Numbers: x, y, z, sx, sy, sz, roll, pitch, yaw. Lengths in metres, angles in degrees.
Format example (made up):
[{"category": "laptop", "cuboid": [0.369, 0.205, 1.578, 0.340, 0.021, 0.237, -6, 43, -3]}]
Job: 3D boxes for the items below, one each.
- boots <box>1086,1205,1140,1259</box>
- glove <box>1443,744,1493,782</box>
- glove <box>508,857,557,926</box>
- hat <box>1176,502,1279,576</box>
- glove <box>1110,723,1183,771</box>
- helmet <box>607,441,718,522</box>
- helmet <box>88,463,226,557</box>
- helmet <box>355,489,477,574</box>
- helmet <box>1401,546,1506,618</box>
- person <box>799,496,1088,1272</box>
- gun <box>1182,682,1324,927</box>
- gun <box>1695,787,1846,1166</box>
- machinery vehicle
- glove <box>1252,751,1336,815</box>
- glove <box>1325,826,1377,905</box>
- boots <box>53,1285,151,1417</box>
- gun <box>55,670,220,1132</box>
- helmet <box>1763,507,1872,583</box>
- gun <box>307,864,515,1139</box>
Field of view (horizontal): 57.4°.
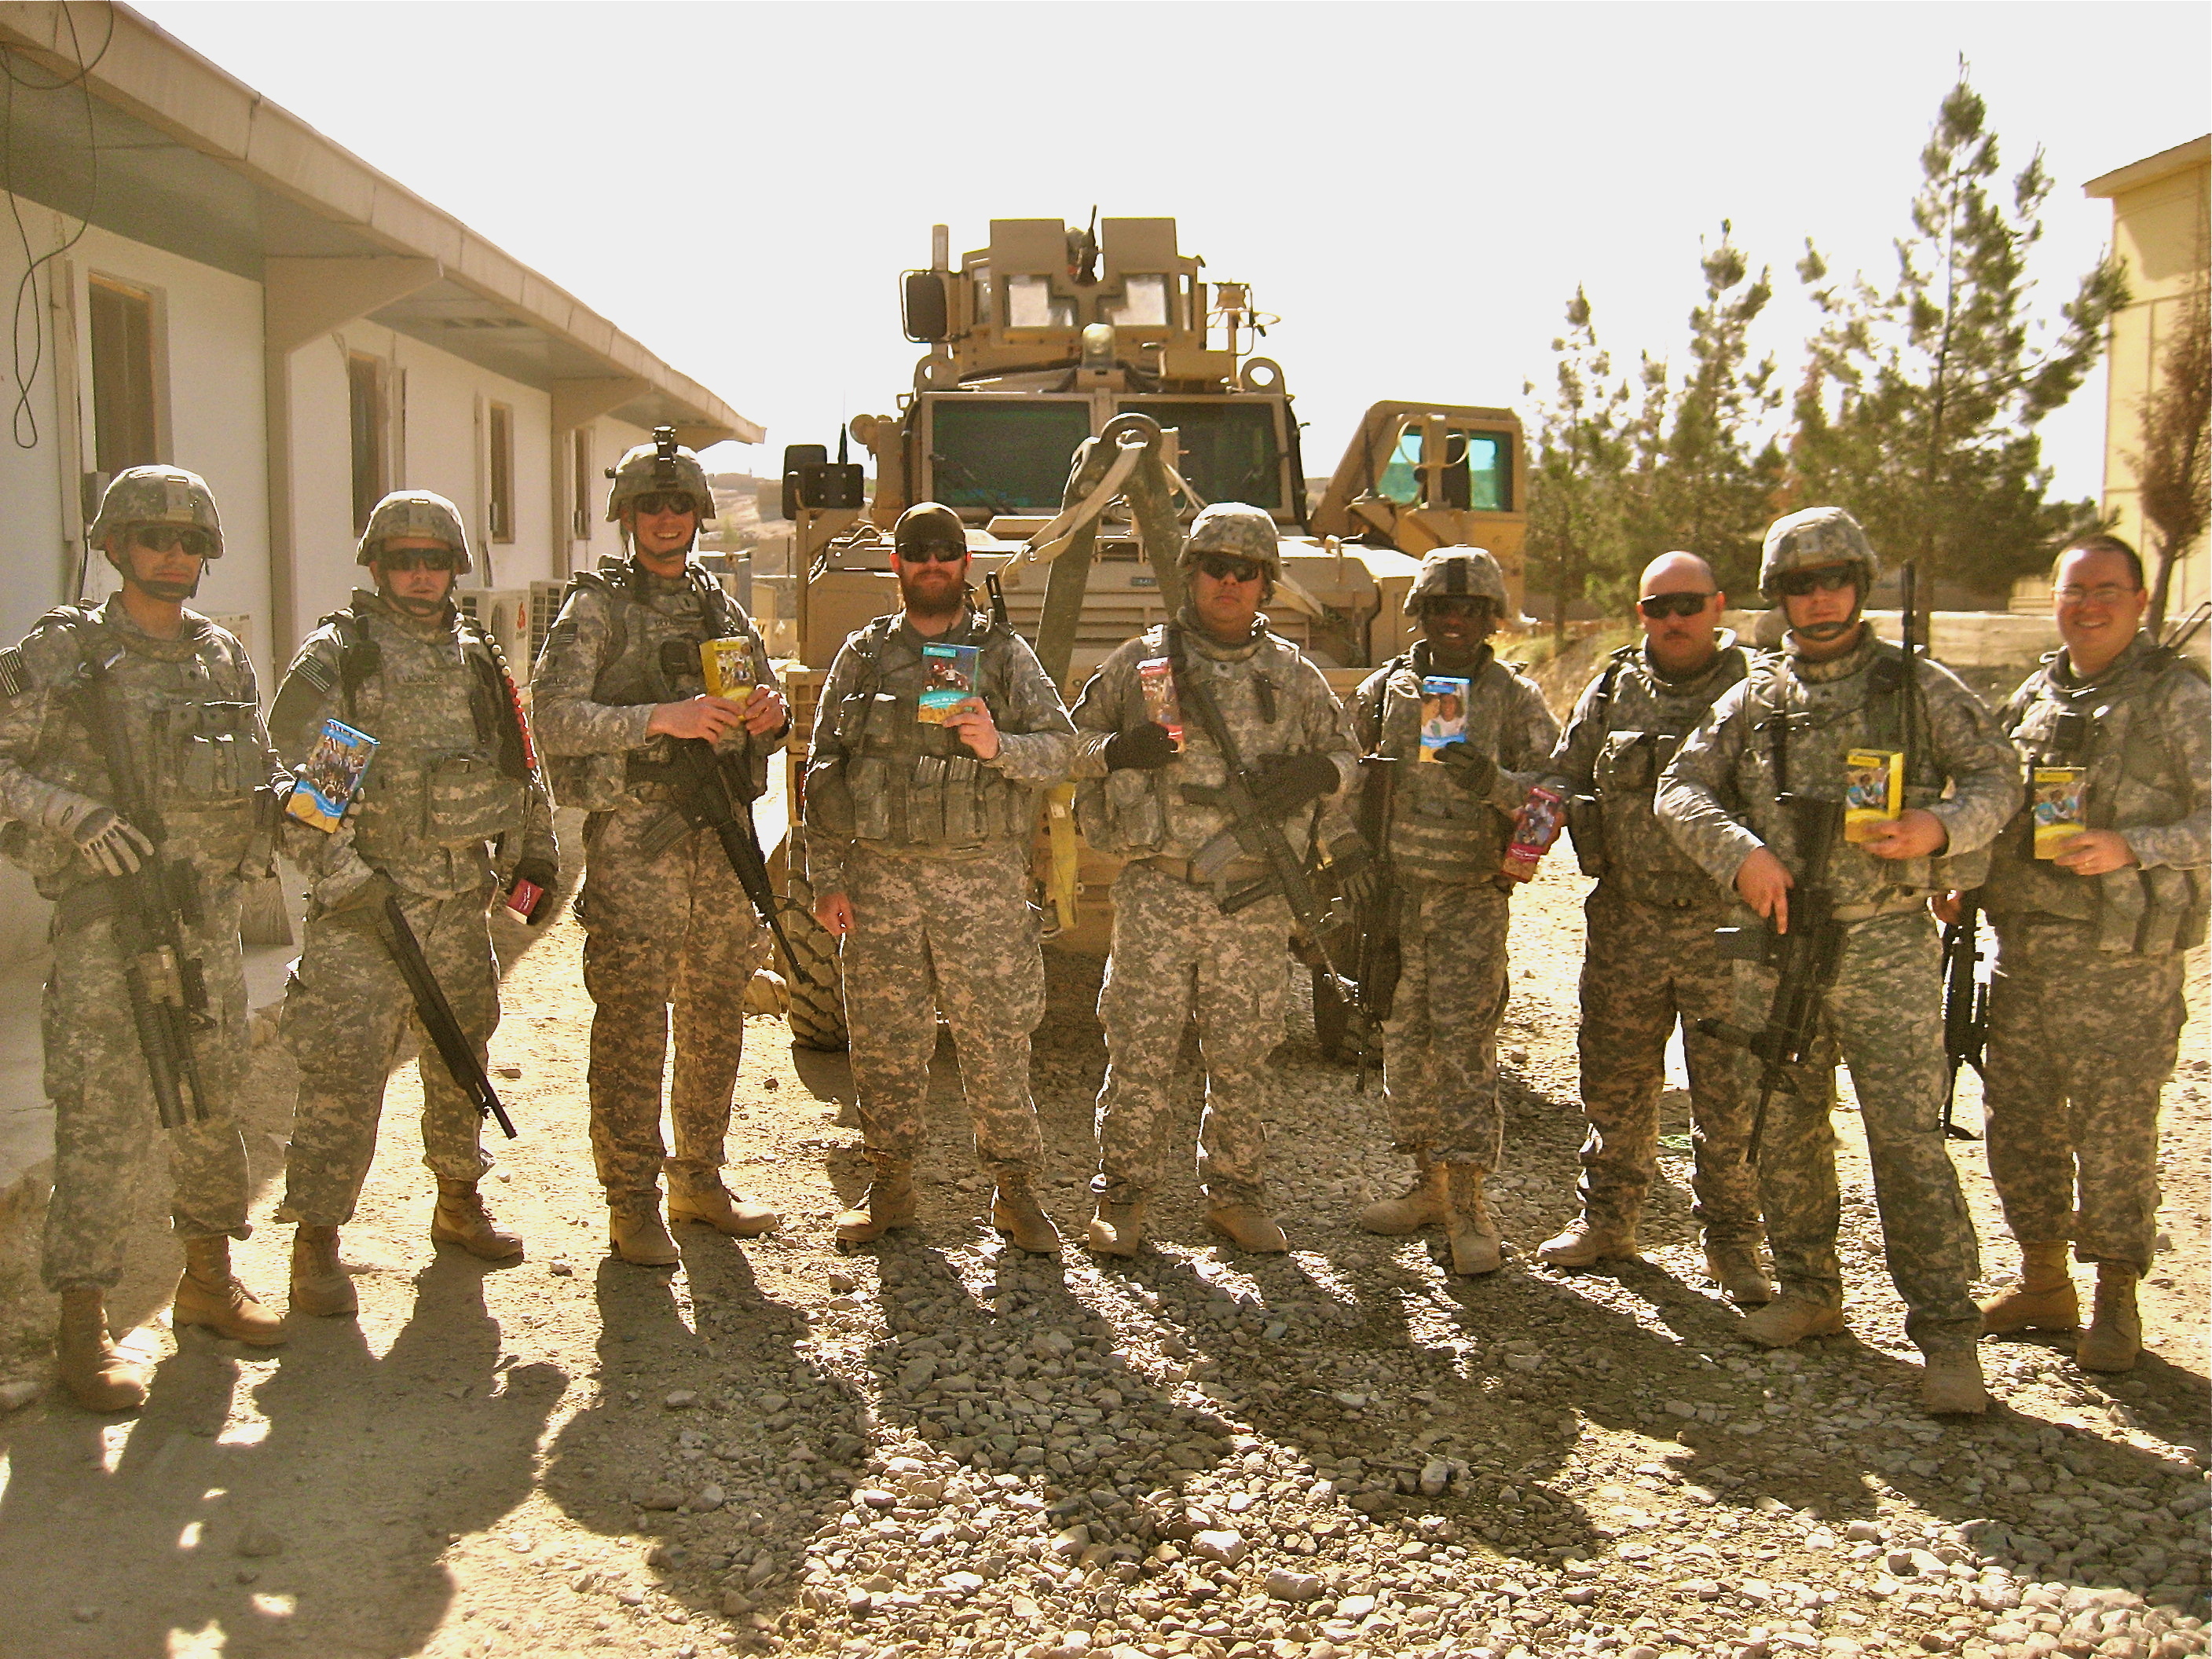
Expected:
[{"category": "boots", "cuboid": [0.019, 1.258, 6.179, 0.185, 0.180, 0.110, 3, -5, -11]}, {"category": "glove", "cuboid": [1.087, -0.186, 6.082, 0.144, 0.128, 0.098, 2, 14, 9]}, {"category": "glove", "cuboid": [-1.727, 0.193, 6.060, 0.078, 0.182, 0.182, 29, 6, -45]}, {"category": "hat", "cuboid": [0.370, -0.881, 6.187, 0.259, 0.202, 0.202, 2, 1, 23]}, {"category": "glove", "cuboid": [0.102, -0.235, 6.094, 0.216, 0.150, 0.093, -1, 13, -1]}, {"category": "helmet", "cuboid": [-1.366, -1.054, 6.126, 0.295, 0.279, 0.356, -4, 14, -13]}, {"category": "helmet", "cuboid": [-2.645, -0.866, 5.574, 0.301, 0.210, 0.294, 0, 2, 41]}, {"category": "helmet", "cuboid": [-2.032, -0.837, 5.927, 0.286, 0.210, 0.288, 0, -3, -17]}, {"category": "helmet", "cuboid": [1.097, -0.759, 6.335, 0.292, 0.234, 0.233, 2, 14, 9]}, {"category": "person", "cuboid": [-0.506, 0.187, 6.175, 0.830, 2.289, 0.522, 0, 13, 3]}, {"category": "gun", "cuboid": [0.419, -0.054, 6.162, 0.318, 0.752, 0.086, -20, 3, 10]}, {"category": "gun", "cuboid": [1.841, 0.439, 5.530, 0.230, 1.014, 0.288, 11, 17, 39]}, {"category": "machinery vehicle", "cuboid": [0.240, -1.217, 10.725, 3.444, 3.937, 5.158, 0, 8, -5]}, {"category": "glove", "cuboid": [0.570, -0.128, 6.161, 0.263, 0.181, 0.153, 1, 13, 7]}, {"category": "glove", "cuboid": [0.738, 0.131, 6.247, 0.147, 0.206, 0.057, 6, 1, 28]}, {"category": "boots", "cuboid": [-2.718, 1.407, 5.426, 0.305, 0.270, 0.142, 16, 7, 32]}, {"category": "gun", "cuboid": [-2.571, 0.186, 5.432, 0.231, 1.203, 0.383, -7, 15, -27]}, {"category": "helmet", "cuboid": [1.952, -0.791, 5.604, 0.213, 0.197, 0.275, -5, -13, 21]}, {"category": "gun", "cuboid": [-1.882, 0.489, 5.792, 0.476, 0.747, 0.293, 4, 14, 18]}]
